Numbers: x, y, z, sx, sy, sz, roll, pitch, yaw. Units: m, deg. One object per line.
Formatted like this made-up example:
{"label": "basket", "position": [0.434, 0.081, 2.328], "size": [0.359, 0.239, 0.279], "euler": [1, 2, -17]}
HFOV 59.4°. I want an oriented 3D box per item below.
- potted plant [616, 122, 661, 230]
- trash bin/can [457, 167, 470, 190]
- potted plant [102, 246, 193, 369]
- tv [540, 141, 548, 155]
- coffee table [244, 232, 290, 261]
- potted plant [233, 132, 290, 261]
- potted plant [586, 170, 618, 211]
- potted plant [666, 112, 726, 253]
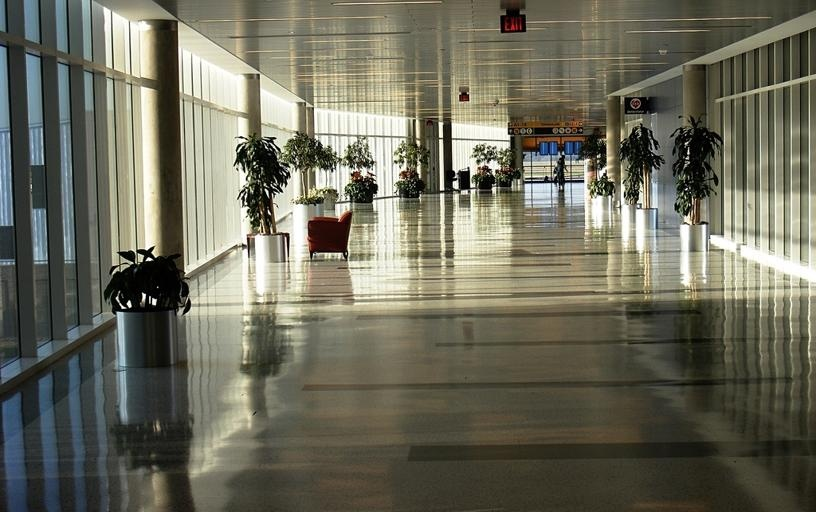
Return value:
{"label": "potted plant", "position": [6.814, -2.364, 20.992], "size": [1.141, 2.898, 3.374], "euler": [2, 13, 18]}
{"label": "trash bin/can", "position": [3.327, -4.505, 42.388], "size": [0.951, 1.596, 1.721], "euler": [-1, 3, 7]}
{"label": "potted plant", "position": [-3.048, 0.613, 8.613], "size": [1.054, 1.373, 1.082], "euler": [-2, -2, 26]}
{"label": "tv", "position": [12.324, -9.926, 65.502], "size": [0.129, 0.978, 1.353], "euler": [10, 12, 33]}
{"label": "coffee table", "position": [-3.075, -0.197, 15.594], "size": [0.761, 0.456, 0.791], "euler": [5, 5, 43]}
{"label": "potted plant", "position": [-3.067, -1.175, 15.206], "size": [1.051, 2.752, 1.413], "euler": [-5, 13, -13]}
{"label": "potted plant", "position": [6.974, -2.261, 25.423], "size": [0.978, 1.173, 0.899], "euler": [-2, -4, 15]}
{"label": "potted plant", "position": [6.672, -1.770, 16.708], "size": [1.079, 2.898, 2.964], "euler": [3, 13, 22]}
